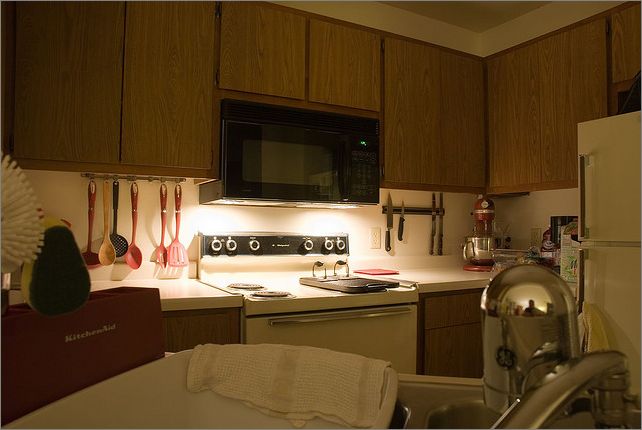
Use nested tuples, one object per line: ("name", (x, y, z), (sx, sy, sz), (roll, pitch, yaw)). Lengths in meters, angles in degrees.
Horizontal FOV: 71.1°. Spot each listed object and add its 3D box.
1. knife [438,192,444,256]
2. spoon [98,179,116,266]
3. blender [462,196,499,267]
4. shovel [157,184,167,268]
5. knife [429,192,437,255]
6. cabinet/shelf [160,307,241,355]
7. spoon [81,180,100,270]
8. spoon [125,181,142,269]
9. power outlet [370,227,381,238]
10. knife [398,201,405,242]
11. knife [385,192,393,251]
("knife", (0.866, 0.064, 3.263), (0.037, 0.451, 0.113), (0, 2, 27))
("spoon", (-1.108, 0.040, 2.314), (0.068, 0.441, 0.080), (-1, 2, 8))
("blender", (1.089, 0.120, 3.090), (0.217, 0.487, 0.426), (0, 2, 19))
("shovel", (-0.870, 0.055, 2.438), (0.060, 0.459, 0.042), (-1, 2, -20))
("knife", (0.804, 0.058, 3.233), (0.041, 0.445, 0.098), (0, 2, 28))
("cabinet/shelf", (-0.512, 0.411, 1.933), (0.289, 0.306, 0.164), (2, -8, -24))
("spoon", (-1.178, 0.047, 2.285), (0.077, 0.449, 0.076), (-2, 2, -32))
("spoon", (-0.996, 0.053, 2.376), (0.087, 0.468, 0.047), (-2, 2, -35))
("power outlet", (0.355, 0.114, 3.010), (0.065, 0.068, 0.007), (3, -4, -25))
("knife", (0.551, 0.039, 3.095), (0.033, 0.273, 0.092), (1, 2, 41))
("knife", (0.459, 0.053, 3.056), (0.052, 0.399, 0.083), (0, 2, 24))
